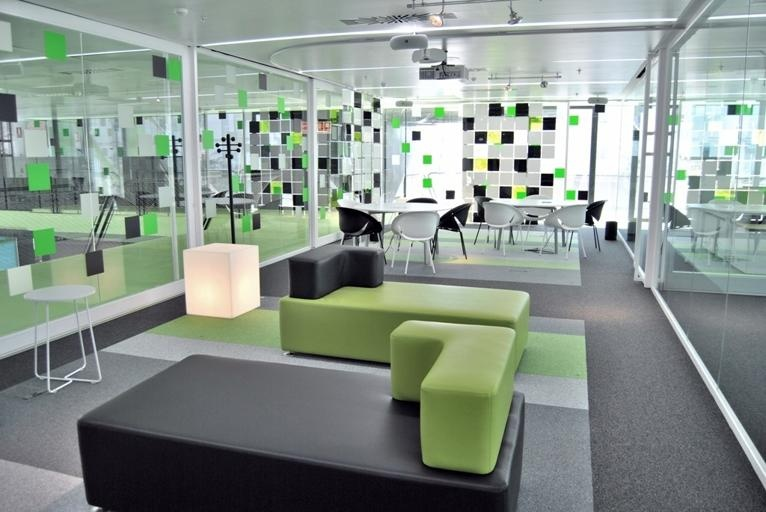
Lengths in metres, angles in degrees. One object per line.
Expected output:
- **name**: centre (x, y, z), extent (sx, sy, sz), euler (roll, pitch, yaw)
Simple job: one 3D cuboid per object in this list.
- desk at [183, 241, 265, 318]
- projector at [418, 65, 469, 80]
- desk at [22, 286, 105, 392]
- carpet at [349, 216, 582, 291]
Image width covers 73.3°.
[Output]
- **desk**: centre (-2.025, 0.404, 6.956), extent (0.886, 0.620, 0.881), euler (4, -7, 32)
- **projector**: centre (0.913, -2.788, 7.780), extent (0.709, 0.231, 0.154), euler (1, 12, 2)
- **desk**: centre (-3.444, 0.908, 5.502), extent (0.701, 0.923, 0.675), euler (20, 23, 28)
- **carpet**: centre (1.822, 0.039, 9.880), extent (4.063, 0.135, 3.940), euler (0, 11, -3)
